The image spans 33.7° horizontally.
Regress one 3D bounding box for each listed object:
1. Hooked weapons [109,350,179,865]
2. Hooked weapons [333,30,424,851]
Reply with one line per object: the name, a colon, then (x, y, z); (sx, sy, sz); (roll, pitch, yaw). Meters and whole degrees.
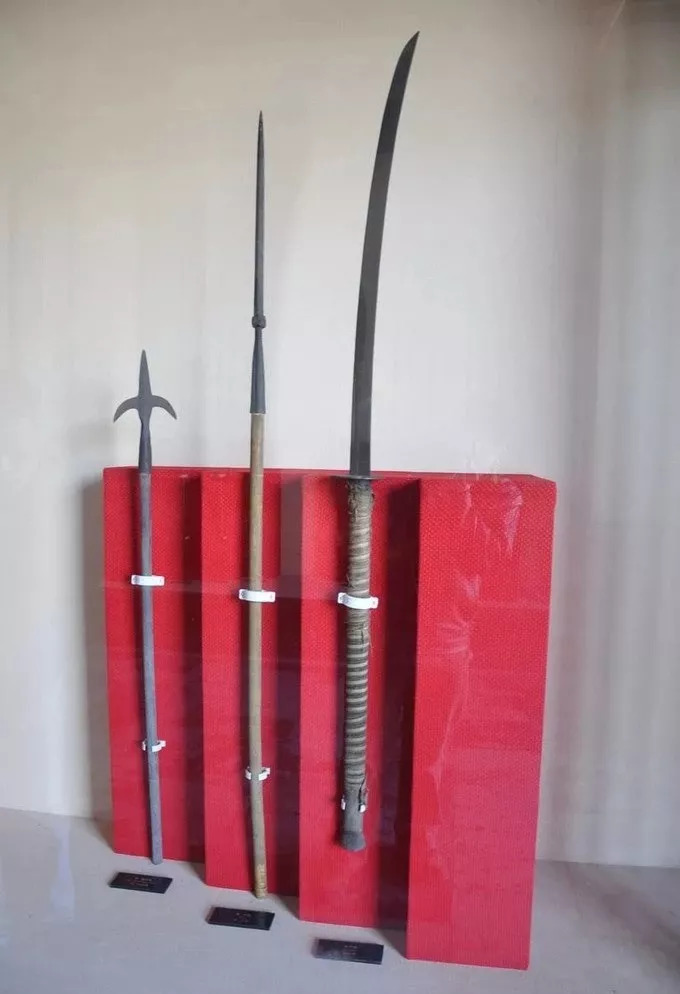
Hooked weapons: (-0.265, 0.151, 1.476); (0.083, 0.678, 0.044); (3, 8, 6)
Hooked weapons: (0.037, -0.057, 1.420); (0.058, 1.030, 0.082); (4, 9, 17)
